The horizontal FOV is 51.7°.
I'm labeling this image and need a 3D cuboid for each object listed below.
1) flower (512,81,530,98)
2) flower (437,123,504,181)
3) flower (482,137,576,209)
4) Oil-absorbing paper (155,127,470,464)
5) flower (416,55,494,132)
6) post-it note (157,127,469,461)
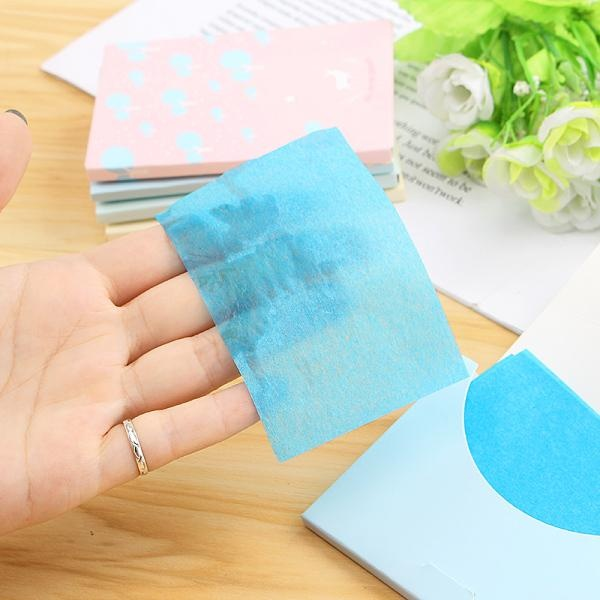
[{"bbox_3d":[0.170,-0.161,0.472,0.014,0.006,0.012,2,89,5],"label":"flower"},{"bbox_3d":[0.139,-0.120,0.516,0.047,0.017,0.040,7,14,-25],"label":"flower"},{"bbox_3d":[0.167,-0.105,0.476,0.075,0.026,0.050,15,28,-28],"label":"flower"},{"bbox_3d":[0.017,0.005,0.396,0.187,0.055,0.207,-26,72,3],"label":"Oil-absorbing paper"},{"bbox_3d":[0.128,-0.170,0.505,0.035,0.058,0.064,-21,59,-15],"label":"flower"},{"bbox_3d":[0.014,-0.001,0.412,0.182,0.054,0.209,-27,74,2],"label":"post-it note"}]
